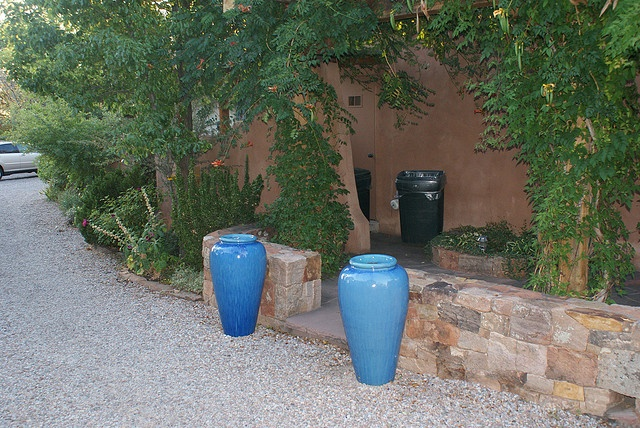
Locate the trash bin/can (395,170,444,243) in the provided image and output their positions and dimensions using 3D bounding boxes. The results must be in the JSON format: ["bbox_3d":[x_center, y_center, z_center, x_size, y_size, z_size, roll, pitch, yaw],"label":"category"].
[{"bbox_3d":[1.787,-0.141,8.170,1.001,1.209,0.976,-5,18,-3],"label":"trash bin/can"}]

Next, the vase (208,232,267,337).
[{"bbox_3d":[-0.943,0.832,5.287,0.626,1.146,0.323,-1,8,-14],"label":"vase"}]

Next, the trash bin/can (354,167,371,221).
[{"bbox_3d":[0.787,-0.378,8.713,0.264,0.963,0.644,4,8,24],"label":"trash bin/can"}]
